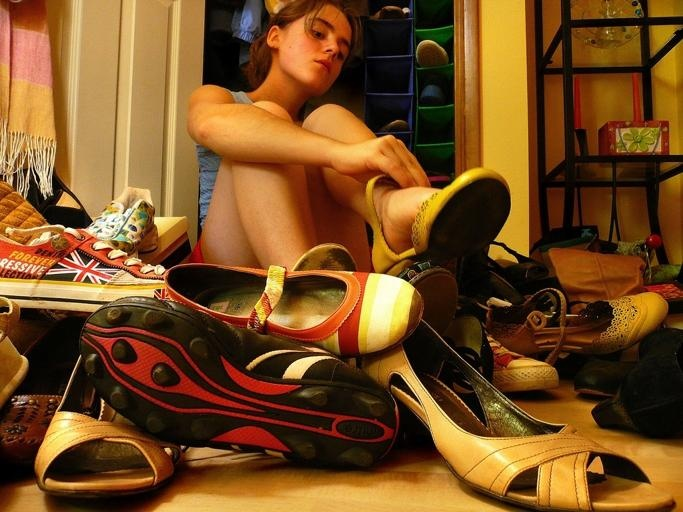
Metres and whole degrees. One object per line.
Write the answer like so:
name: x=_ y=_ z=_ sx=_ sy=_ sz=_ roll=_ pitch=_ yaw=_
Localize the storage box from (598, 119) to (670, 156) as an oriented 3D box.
storage box: x=1.048 y=-0.403 z=2.056 sx=0.166 sy=0.095 sz=0.168 roll=0 pitch=4 yaw=8
